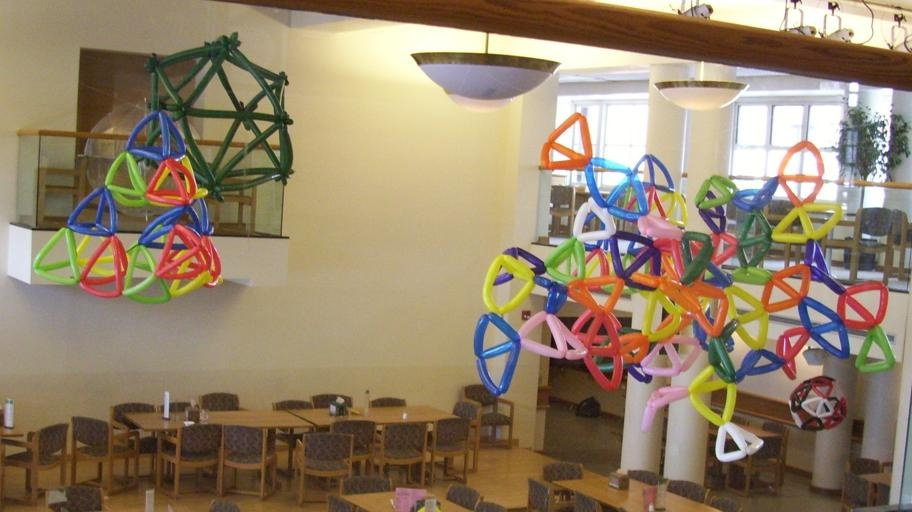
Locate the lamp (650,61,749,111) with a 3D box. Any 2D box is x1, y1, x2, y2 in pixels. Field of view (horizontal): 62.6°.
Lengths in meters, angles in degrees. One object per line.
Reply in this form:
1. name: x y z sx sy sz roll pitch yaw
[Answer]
1. lamp: 3.506 -2.475 10.745 1.250 0.646 1.199 5 19 23
